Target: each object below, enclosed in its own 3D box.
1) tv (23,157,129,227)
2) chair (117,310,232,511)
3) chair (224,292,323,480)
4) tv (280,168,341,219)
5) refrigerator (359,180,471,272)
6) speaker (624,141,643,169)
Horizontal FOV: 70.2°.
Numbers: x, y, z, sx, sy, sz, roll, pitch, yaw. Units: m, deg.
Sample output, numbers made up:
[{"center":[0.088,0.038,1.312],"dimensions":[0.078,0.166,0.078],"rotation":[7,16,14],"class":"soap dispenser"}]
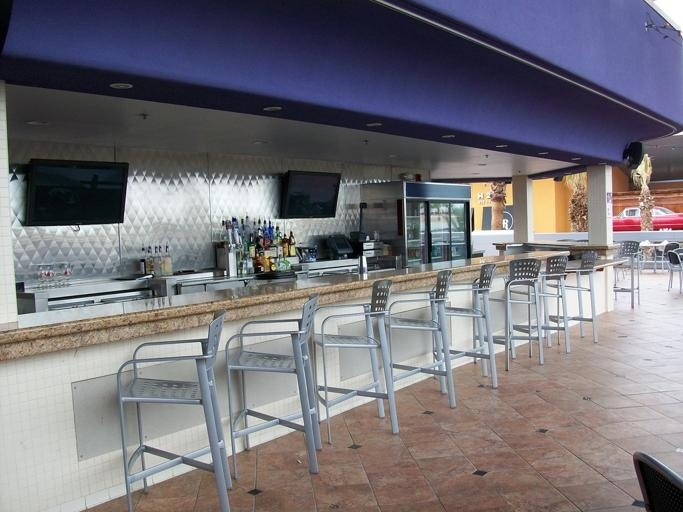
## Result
[{"center":[-2.978,-0.715,5.361],"dimensions":[0.901,0.584,0.112],"rotation":[-2,11,-44],"class":"tv"},{"center":[-1.050,0.947,3.055],"dimensions":[0.654,1.247,0.993],"rotation":[-5,6,-25],"class":"chair"},{"center":[-0.496,0.886,3.568],"dimensions":[0.691,1.236,1.061],"rotation":[-4,5,-14],"class":"chair"},{"center":[-0.496,-0.992,7.825],"dimensions":[1.195,0.724,0.212],"rotation":[-7,7,-44],"class":"tv"},{"center":[1.240,-0.570,8.798],"dimensions":[0.682,1.517,1.947],"rotation":[-3,-3,40],"class":"refrigerator"},{"center":[5.338,-1.875,8.899],"dimensions":[0.464,0.480,0.213],"rotation":[-4,6,-16],"class":"speaker"}]
